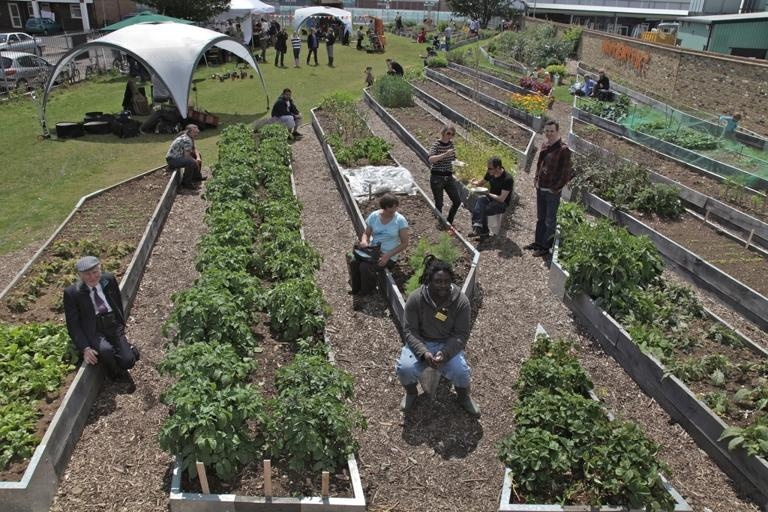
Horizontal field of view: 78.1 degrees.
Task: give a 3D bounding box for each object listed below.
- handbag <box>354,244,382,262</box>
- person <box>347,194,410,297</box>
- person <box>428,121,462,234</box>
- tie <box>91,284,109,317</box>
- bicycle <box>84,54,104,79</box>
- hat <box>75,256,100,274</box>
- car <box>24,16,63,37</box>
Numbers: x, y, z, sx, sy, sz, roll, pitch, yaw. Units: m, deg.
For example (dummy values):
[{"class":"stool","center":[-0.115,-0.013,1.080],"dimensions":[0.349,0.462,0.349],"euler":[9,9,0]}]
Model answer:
[{"class":"handbag","center":[-0.323,-0.058,8.616],"dimensions":[0.369,0.148,0.294],"euler":[2,9,27]},{"class":"person","center":[-0.153,-0.158,8.780],"dimensions":[1.049,1.981,0.849],"euler":[-19,39,-39]},{"class":"person","center":[1.359,-1.800,10.664],"dimensions":[0.725,2.138,1.333],"euler":[4,29,6]},{"class":"tie","center":[-4.108,0.648,6.800],"dimensions":[0.204,0.373,0.130],"euler":[-14,11,-3]},{"class":"bicycle","center":[-16.841,-11.228,27.370],"dimensions":[1.003,0.966,5.835],"euler":[-14,33,-25]},{"class":"hat","center":[-4.226,0.098,6.728],"dimensions":[0.279,0.152,0.298],"euler":[-20,36,-33]},{"class":"car","center":[-31.283,-21.064,43.403],"dimensions":[2.375,1.237,3.970],"euler":[-5,30,-10]}]
